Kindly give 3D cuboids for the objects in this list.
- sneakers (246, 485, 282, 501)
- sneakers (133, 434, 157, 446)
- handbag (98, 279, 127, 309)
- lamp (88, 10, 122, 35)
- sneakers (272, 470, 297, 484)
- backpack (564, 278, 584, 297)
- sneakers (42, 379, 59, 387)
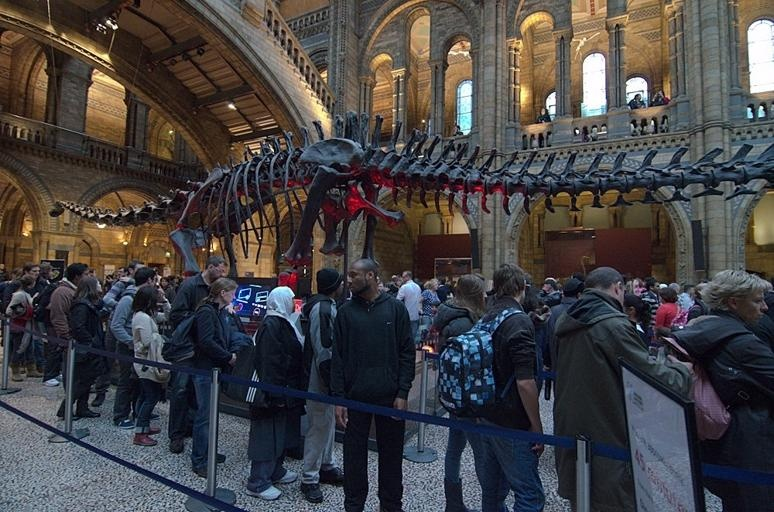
[{"bbox_3d":[-1.917,3.673,9.925,0.419,0.132,0.218,1,-13,5],"label":"sneakers"},{"bbox_3d":[-4.158,3.123,10.837,0.428,0.257,0.171,3,-6,-7],"label":"sneakers"},{"bbox_3d":[-5.420,0.761,12.516,0.263,0.451,0.475,39,-32,-16],"label":"handbag"},{"bbox_3d":[-8.408,-6.858,18.816,0.807,0.618,1.328,3,-6,-25],"label":"lamp"},{"bbox_3d":[-1.652,3.524,10.150,0.461,0.176,0.170,1,0,-10],"label":"sneakers"},{"bbox_3d":[3.221,0.532,10.977,0.284,0.265,0.341,3,23,18],"label":"backpack"},{"bbox_3d":[-6.931,2.604,13.109,0.270,0.098,0.122,-9,-11,29],"label":"sneakers"}]
